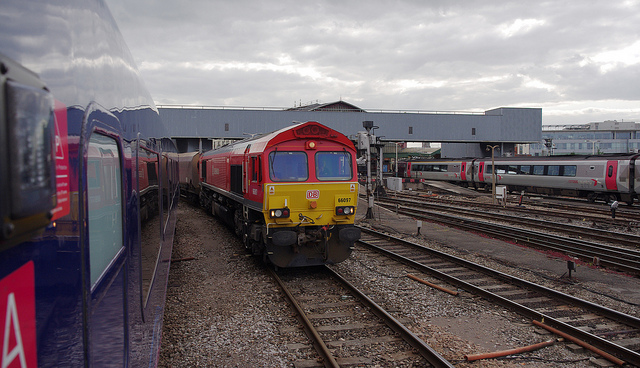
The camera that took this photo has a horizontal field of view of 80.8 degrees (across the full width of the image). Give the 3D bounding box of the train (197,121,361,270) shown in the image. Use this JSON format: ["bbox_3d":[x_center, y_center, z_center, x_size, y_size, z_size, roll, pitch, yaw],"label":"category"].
[{"bbox_3d":[-1.754,0.255,12.206,2.447,4.325,6.207,-4,8,-34],"label":"train"}]
